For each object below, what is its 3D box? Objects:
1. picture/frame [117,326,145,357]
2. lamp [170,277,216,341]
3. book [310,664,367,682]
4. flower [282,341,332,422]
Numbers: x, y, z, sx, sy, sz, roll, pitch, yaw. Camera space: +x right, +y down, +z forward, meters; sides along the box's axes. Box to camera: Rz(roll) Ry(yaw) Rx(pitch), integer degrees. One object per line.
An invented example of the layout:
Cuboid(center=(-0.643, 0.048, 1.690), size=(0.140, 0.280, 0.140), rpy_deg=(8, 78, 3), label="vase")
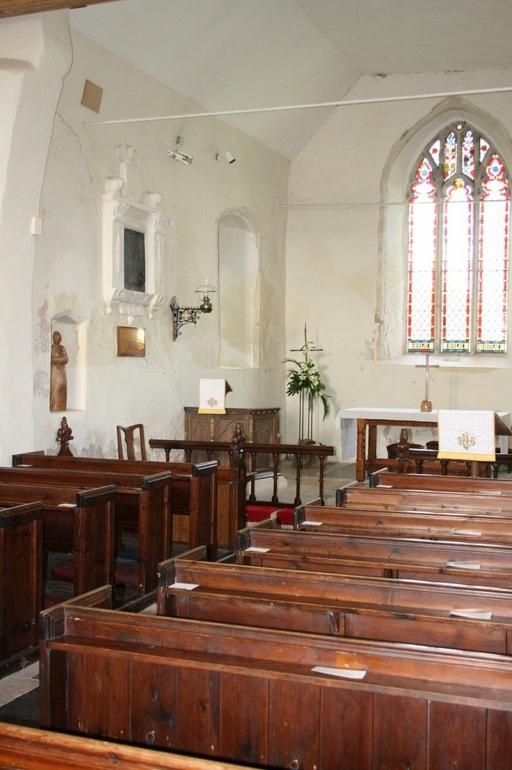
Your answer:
Cuboid(center=(-1.317, -0.450, 7.624), size=(0.123, 0.337, 0.518), rpy_deg=(-10, 2, 16), label="picture/frame")
Cuboid(center=(-0.720, -0.839, 8.595), size=(0.416, 0.637, 0.725), rpy_deg=(-10, 2, 20), label="lamp")
Cuboid(center=(0.181, 0.621, 1.581), size=(0.117, 0.006, 0.037), rpy_deg=(7, 35, 38), label="book")
Cuboid(center=(0.729, -0.067, 10.986), size=(0.633, 1.201, 0.737), rpy_deg=(-10, 2, 8), label="flower")
